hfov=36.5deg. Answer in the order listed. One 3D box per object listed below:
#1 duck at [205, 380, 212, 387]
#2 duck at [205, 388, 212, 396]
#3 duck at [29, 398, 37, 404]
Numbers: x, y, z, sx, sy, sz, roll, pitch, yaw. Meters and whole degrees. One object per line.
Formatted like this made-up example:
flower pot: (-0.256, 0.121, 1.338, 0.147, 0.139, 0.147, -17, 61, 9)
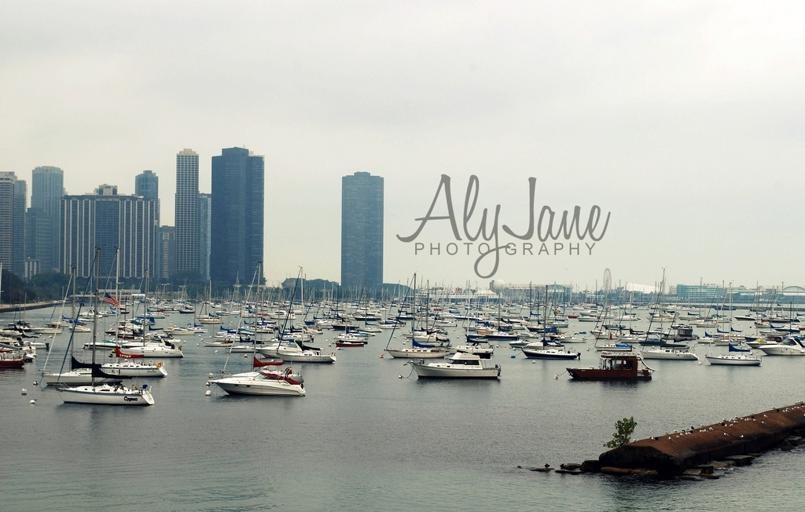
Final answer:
duck: (-24.908, 16.267, 156.957, 0.759, 0.666, 0.539, 7, -1, 17)
duck: (-24.169, 16.915, 151.845, 0.527, 0.582, 0.614, 3, 11, 9)
duck: (-43.790, 17.154, 144.688, 0.538, 0.322, 0.620, 8, 1, 9)
